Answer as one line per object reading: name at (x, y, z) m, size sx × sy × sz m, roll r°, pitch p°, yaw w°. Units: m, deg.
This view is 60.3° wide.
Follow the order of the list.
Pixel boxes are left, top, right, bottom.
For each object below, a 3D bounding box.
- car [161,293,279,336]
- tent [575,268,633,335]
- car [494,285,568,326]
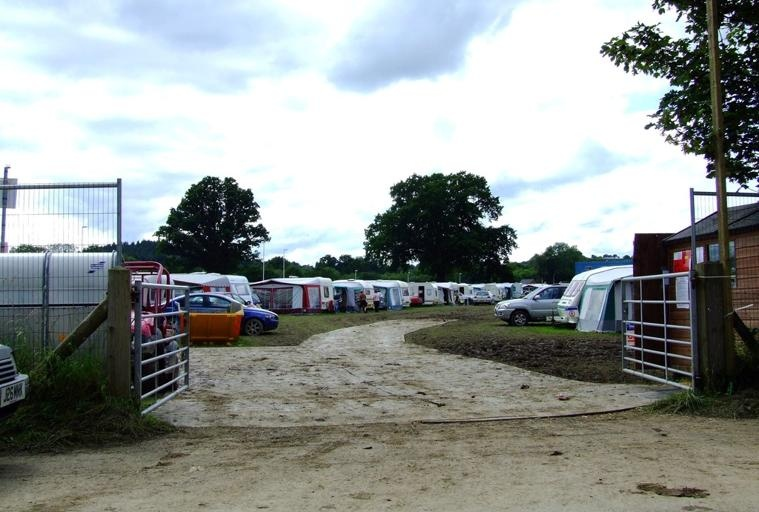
car at (-5.571, 2.336, 22.903) m, size 3.800 × 1.280 × 2.035 m, roll 1°, pitch -2°, yaw -9°
tent at (8.963, 1.765, 24.537) m, size 2.661 × 2.630 × 3.024 m, roll 0°, pitch -2°, yaw 0°
car at (6.648, 2.214, 29.100) m, size 3.117 × 1.287 × 1.513 m, roll 2°, pitch -4°, yaw -4°
